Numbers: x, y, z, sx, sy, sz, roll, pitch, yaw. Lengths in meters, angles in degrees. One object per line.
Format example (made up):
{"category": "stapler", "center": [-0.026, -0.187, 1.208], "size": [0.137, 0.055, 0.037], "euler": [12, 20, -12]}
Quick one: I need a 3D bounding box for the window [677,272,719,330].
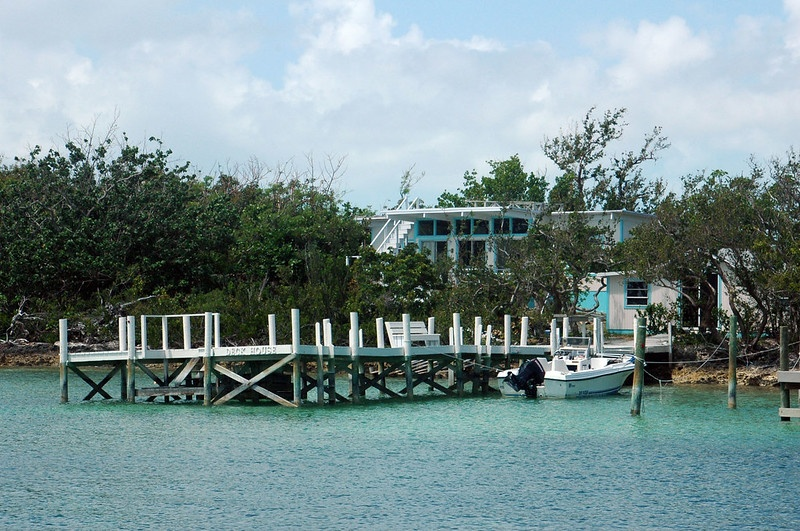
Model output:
{"category": "window", "center": [14.693, 1.836, 49.860], "size": [2.254, 3.265, 2.214], "euler": [-3, 8, 3]}

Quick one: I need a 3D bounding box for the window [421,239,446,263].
{"category": "window", "center": [1.989, -0.842, 58.894], "size": [1.371, 1.488, 0.116], "euler": [0, -12, -3]}

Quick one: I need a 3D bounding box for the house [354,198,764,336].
{"category": "house", "center": [6.100, -0.255, 58.227], "size": [19.277, 8.624, 10.757], "euler": [-3, -7, 20]}

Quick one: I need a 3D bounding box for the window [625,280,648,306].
{"category": "window", "center": [12.945, 1.434, 55.129], "size": [1.393, 1.690, 0.084], "euler": [1, 3, 43]}
